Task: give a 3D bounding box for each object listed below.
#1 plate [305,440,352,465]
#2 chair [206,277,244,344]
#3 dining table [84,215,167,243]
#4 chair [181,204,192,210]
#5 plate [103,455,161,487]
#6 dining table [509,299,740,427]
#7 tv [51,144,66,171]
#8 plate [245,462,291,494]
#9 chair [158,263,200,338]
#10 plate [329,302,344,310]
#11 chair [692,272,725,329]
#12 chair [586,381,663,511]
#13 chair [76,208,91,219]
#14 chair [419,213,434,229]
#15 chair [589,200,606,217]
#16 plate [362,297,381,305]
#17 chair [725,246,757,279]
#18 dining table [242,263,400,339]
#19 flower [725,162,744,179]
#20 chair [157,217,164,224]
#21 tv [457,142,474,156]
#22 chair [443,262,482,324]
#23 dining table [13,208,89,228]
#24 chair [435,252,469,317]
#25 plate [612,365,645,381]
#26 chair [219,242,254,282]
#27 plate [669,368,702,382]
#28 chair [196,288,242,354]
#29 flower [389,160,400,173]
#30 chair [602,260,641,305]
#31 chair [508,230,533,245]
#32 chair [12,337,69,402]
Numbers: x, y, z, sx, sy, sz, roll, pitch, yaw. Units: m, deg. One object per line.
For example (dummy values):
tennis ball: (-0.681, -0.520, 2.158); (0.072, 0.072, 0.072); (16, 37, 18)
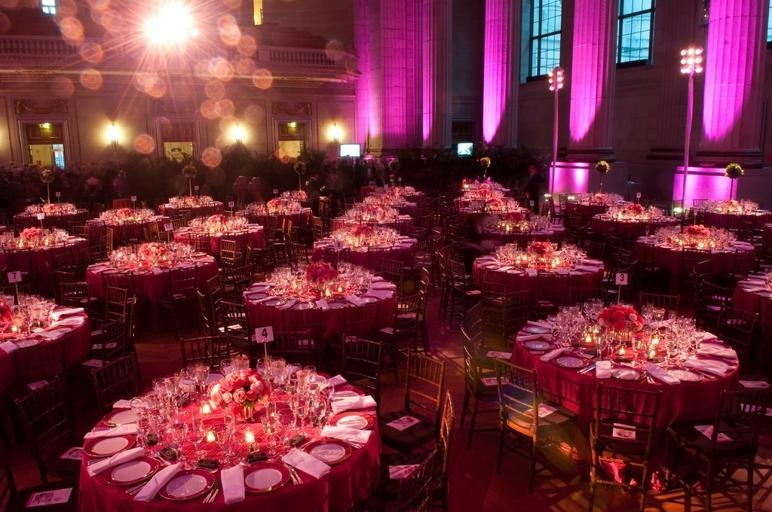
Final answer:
plate: (-0.568, 1.921, 5.376); (0.444, 0.117, 0.269); (-2, 12, -2)
chair: (-2.607, 0.877, 8.871); (0.611, 1.033, 0.577); (-8, 26, -23)
dining table: (-6.778, -0.708, 14.224); (1.304, 0.390, 1.376); (0, 5, -4)
chair: (-5.966, -1.511, 16.536); (0.280, 0.112, 0.108); (-4, 13, -12)
plate: (-2.397, 2.057, 5.209); (0.474, 0.135, 0.291); (-7, 13, -25)
dining table: (2.918, 1.244, 6.628); (1.751, 0.650, 1.850); (-3, 18, -5)
tv: (-14.603, -4.547, 24.454); (0.449, 1.063, 1.044); (-10, 15, -35)
plate: (-1.105, 2.084, 5.143); (0.406, 0.128, 0.274); (-3, 12, -7)
chair: (-3.790, 0.790, 9.993); (0.782, 1.500, 0.874); (-8, 28, -27)
plate: (-0.734, 0.723, 8.159); (0.219, 0.038, 0.218); (-2, 12, -1)
chair: (5.304, 0.733, 9.038); (0.470, 0.820, 0.625); (3, 22, 30)
chair: (2.672, 2.082, 6.211); (0.695, 1.564, 0.787); (4, 13, 23)
chair: (-8.654, -1.236, 15.761); (0.511, 0.266, 0.687); (-2, 14, -24)
chair: (1.229, -1.122, 17.006); (0.462, 0.490, 0.555); (1, 5, -2)
chair: (6.035, -1.381, 15.613); (0.374, 0.465, 0.383); (-5, 9, -28)
plate: (-0.229, 0.661, 8.324); (0.233, 0.041, 0.255); (-3, 12, -5)
chair: (6.757, 0.109, 10.514); (0.404, 0.772, 0.464); (-1, 26, 7)
dining table: (-1.002, 0.650, 8.452); (1.449, 0.533, 1.526); (0, 19, -5)
flower: (9.117, -2.276, 14.464); (0.339, 0.348, 0.485); (6, 14, 32)
chair: (-6.108, -1.000, 14.896); (0.174, 0.140, 0.176); (3, -3, -34)
tv: (3.704, -5.066, 25.713); (0.740, 0.818, 0.560); (9, 33, 18)
chair: (1.402, 0.678, 10.146); (0.630, 1.147, 0.639); (-10, 26, -15)
dining table: (-9.026, -0.999, 15.117); (1.048, 0.315, 1.114); (0, -1, -1)
chair: (1.280, 0.562, 10.676); (0.731, 1.239, 0.852); (-3, 21, -5)
plate: (2.784, 1.364, 6.363); (0.315, 0.073, 0.265); (3, 13, 22)
chair: (-3.093, 0.116, 11.290); (0.508, 0.980, 0.579); (9, 24, 15)
plate: (3.450, 1.376, 6.339); (0.356, 0.076, 0.199); (-2, 12, 0)
chair: (-2.645, 1.039, 8.696); (0.637, 1.057, 0.676); (-15, 27, -33)
flower: (0.323, -4.061, 24.592); (0.406, 0.613, 0.572); (8, 29, 10)
chair: (4.162, 0.469, 9.751); (0.471, 0.825, 0.612); (6, 18, 24)
chair: (3.064, -0.401, 12.575); (0.535, 0.358, 0.237); (-3, 12, -7)
chair: (-4.427, 1.439, 6.996); (0.486, 0.832, 0.532); (-10, 62, -32)
